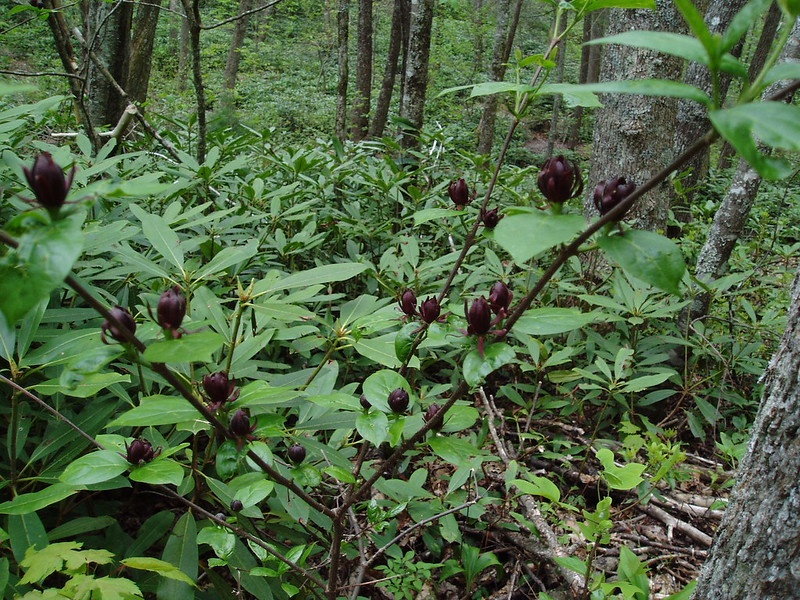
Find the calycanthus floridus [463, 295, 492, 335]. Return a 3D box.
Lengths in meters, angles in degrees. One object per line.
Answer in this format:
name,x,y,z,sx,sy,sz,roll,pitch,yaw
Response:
calycanthus floridus,0.251,0.052,1.724,0.093,0.113,0.077,-11,20,-14

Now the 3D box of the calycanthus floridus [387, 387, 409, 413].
calycanthus floridus,-0.003,0.339,1.886,0.069,0.089,0.064,-7,32,-21

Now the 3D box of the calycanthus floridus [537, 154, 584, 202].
calycanthus floridus,0.463,-0.340,1.659,0.145,0.127,0.134,6,15,17

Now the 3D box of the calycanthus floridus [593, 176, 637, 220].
calycanthus floridus,0.603,-0.291,1.597,0.099,0.122,0.239,15,28,16
